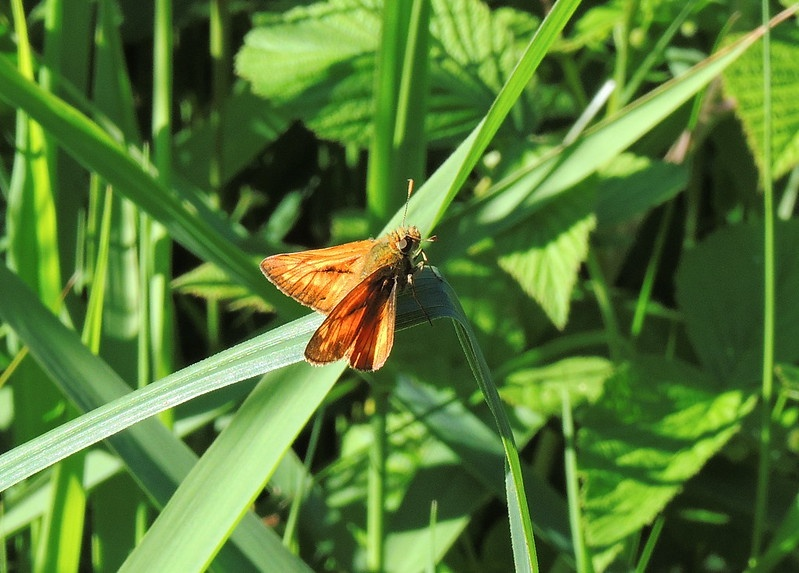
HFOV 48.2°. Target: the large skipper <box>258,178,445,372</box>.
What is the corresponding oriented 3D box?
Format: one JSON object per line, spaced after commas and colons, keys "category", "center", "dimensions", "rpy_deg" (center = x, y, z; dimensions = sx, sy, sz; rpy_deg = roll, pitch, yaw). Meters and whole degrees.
{"category": "large skipper", "center": [-0.057, 0.001, 1.645], "dimensions": [0.218, 0.328, 0.304], "rpy_deg": [41, -12, -15]}
